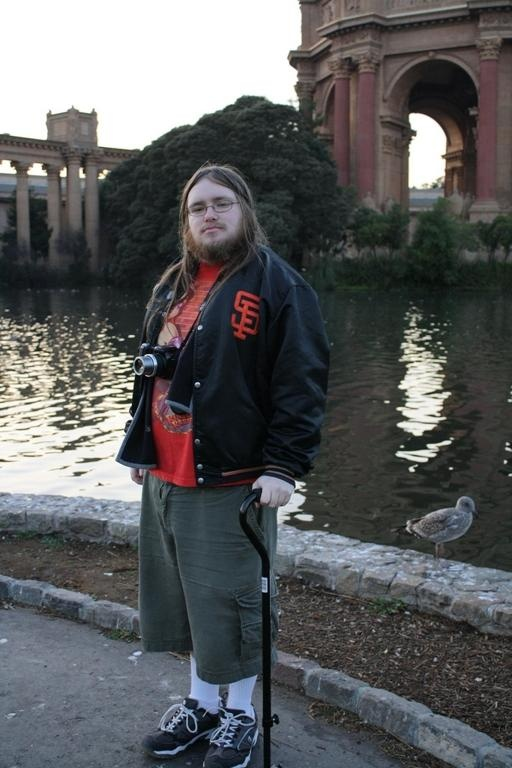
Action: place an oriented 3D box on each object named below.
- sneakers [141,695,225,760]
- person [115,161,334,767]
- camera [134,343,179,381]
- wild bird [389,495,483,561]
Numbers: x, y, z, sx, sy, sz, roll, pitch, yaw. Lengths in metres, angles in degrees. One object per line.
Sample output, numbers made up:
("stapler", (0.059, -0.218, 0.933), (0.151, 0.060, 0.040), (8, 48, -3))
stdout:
("sneakers", (-0.261, 1.254, 3.137), (0.132, 0.153, 0.396), (-2, -1, 42))
("person", (-0.113, 0.114, 3.071), (0.606, 1.792, 0.845), (-8, 13, -32))
("camera", (-0.370, -0.082, 3.112), (0.137, 0.090, 0.171), (-4, 8, -33))
("wild bird", (1.042, 0.818, 4.902), (0.507, 0.375, 0.234), (4, 10, 36))
